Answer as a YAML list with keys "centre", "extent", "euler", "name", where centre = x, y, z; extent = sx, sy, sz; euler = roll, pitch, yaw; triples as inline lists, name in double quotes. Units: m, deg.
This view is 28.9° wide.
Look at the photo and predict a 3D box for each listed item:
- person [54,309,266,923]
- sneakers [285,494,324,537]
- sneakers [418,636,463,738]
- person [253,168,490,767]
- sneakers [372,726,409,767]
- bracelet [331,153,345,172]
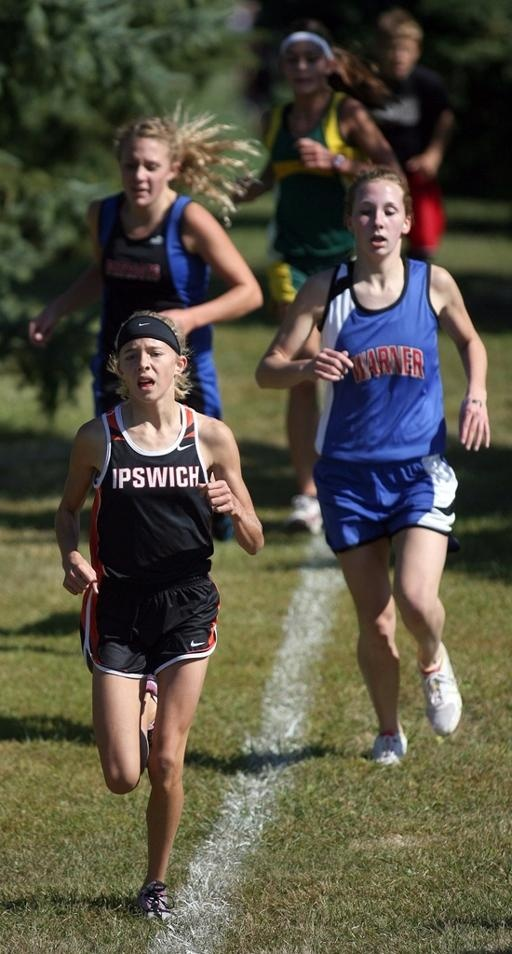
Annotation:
- centre: [-0.296, 0.332, 2.644]
  extent: [0.518, 1.522, 0.519]
  euler: [-1, 8, 19]
  name: "person"
- centre: [0.335, 0.243, 6.437]
  extent: [0.180, 0.294, 0.283]
  euler: [-6, 40, 9]
  name: "sneakers"
- centre: [0.596, 0.683, 3.259]
  extent: [0.110, 0.319, 0.131]
  euler: [-15, -15, 21]
  name: "sneakers"
- centre: [0.429, 0.026, 3.151]
  extent: [0.685, 1.992, 0.497]
  euler: [-4, 7, 1]
  name: "person"
- centre: [0.456, 0.929, 3.416]
  extent: [0.089, 0.063, 0.152]
  euler: [-2, 6, 5]
  name: "sneakers"
- centre: [0.383, -1.448, 4.579]
  extent: [0.054, 0.073, 0.026]
  euler: [-1, 5, -8]
  name: "bracelet"
